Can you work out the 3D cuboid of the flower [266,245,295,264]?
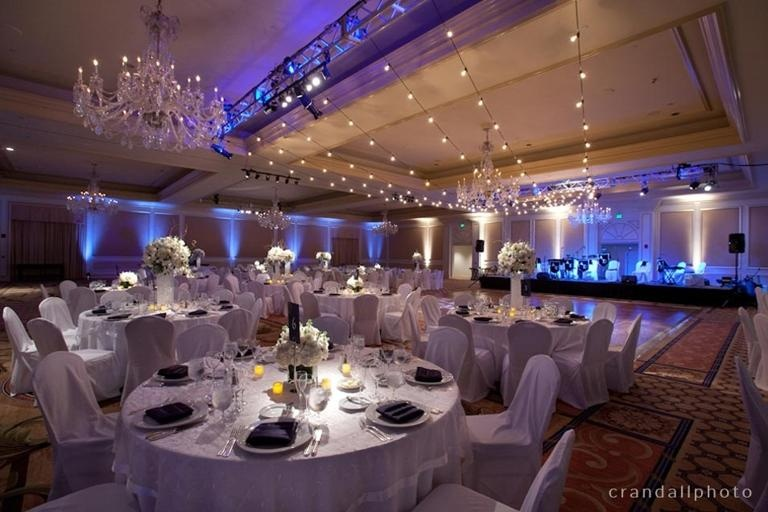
[{"bbox_3d":[-2.772,-0.009,12.270,0.580,0.418,0.871,-2,1,-8],"label":"flower"}]

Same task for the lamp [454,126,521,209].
[{"bbox_3d":[2.222,-1.935,9.938,1.519,2.319,1.580,0,-6,2],"label":"lamp"}]

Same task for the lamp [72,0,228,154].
[{"bbox_3d":[-3.252,-2.561,6.399,1.626,2.339,1.689,3,-2,2],"label":"lamp"}]

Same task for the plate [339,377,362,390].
[{"bbox_3d":[-0.351,1.301,4.675,0.252,0.084,0.141,-2,1,-2],"label":"plate"}]

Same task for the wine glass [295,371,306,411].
[{"bbox_3d":[-0.787,1.282,4.391,0.106,0.365,0.312,-2,1,-11],"label":"wine glass"}]

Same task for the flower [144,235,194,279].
[{"bbox_3d":[-3.261,0.010,7.078,0.577,0.635,0.621,-4,-14,-10],"label":"flower"}]

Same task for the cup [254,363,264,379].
[{"bbox_3d":[-1.330,1.219,4.875,0.118,0.105,0.183,-2,1,-16],"label":"cup"}]

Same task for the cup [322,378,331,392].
[{"bbox_3d":[-0.571,1.284,4.581,0.090,0.109,0.093,-1,5,0],"label":"cup"}]

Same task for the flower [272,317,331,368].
[{"bbox_3d":[-0.823,0.865,4.746,0.459,0.498,0.446,-2,-1,28],"label":"flower"}]

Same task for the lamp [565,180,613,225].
[{"bbox_3d":[6.067,-1.600,13.570,1.105,1.584,1.116,1,0,-23],"label":"lamp"}]

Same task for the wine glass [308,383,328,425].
[{"bbox_3d":[-0.623,1.359,4.330,0.181,0.344,0.351,-2,1,-3],"label":"wine glass"}]

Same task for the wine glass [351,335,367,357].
[{"bbox_3d":[-0.292,0.950,4.895,0.170,0.266,0.173,-1,-1,-15],"label":"wine glass"}]

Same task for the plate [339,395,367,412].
[{"bbox_3d":[-0.292,1.423,4.423,0.290,0.104,0.186,-2,1,-7],"label":"plate"}]

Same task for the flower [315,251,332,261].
[{"bbox_3d":[-2.355,0.027,17.430,0.453,0.442,0.447,14,-11,-34],"label":"flower"}]

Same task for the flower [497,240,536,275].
[{"bbox_3d":[2.160,0.040,7.576,0.526,0.569,0.518,-9,6,13],"label":"flower"}]

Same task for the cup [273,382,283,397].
[{"bbox_3d":[-1.062,1.321,4.584,0.113,0.110,0.090,-2,1,-16],"label":"cup"}]

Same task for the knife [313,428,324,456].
[{"bbox_3d":[-0.592,1.636,4.058,0.081,0.153,0.216,-1,1,5],"label":"knife"}]

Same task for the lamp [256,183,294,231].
[{"bbox_3d":[-3.394,-1.543,14.233,0.964,1.464,1.016,3,-12,-14],"label":"lamp"}]

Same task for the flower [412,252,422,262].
[{"bbox_3d":[1.417,0.089,19.836,0.369,0.424,0.406,-1,14,-2],"label":"flower"}]

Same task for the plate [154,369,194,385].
[{"bbox_3d":[-2.175,1.242,4.727,0.368,0.141,0.259,-2,1,-29],"label":"plate"}]

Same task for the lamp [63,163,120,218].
[{"bbox_3d":[-8.598,-1.968,13.500,0.961,1.383,0.999,1,-10,-3],"label":"lamp"}]
